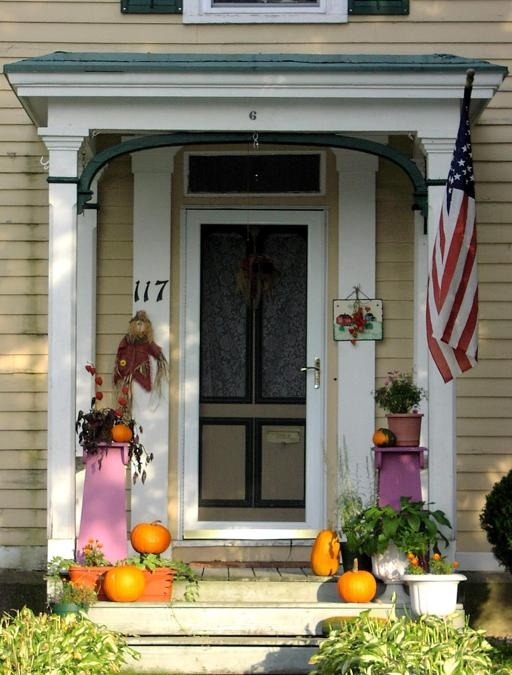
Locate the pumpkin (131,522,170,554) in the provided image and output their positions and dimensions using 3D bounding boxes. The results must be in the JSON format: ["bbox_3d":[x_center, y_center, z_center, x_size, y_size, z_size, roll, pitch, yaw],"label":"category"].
[{"bbox_3d":[-0.645,1.262,9.085,0.194,0.199,0.202,3,0,29],"label":"pumpkin"}]

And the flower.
[{"bbox_3d":[-0.777,1.431,8.660,0.932,0.416,0.385,4,-7,-31],"label":"flower"}]

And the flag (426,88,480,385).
[{"bbox_3d":[1.124,-0.614,8.329,0.285,1.730,0.249,0,-6,8],"label":"flag"}]

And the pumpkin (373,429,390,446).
[{"bbox_3d":[0.771,0.616,8.910,0.089,0.122,0.095,0,0,-4],"label":"pumpkin"}]

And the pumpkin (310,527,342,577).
[{"bbox_3d":[0.440,1.364,9.125,0.173,0.290,0.163,0,-1,-10],"label":"pumpkin"}]

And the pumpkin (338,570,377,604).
[{"bbox_3d":[0.613,1.473,8.560,0.188,0.211,0.195,1,-3,-4],"label":"pumpkin"}]

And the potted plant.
[{"bbox_3d":[0.880,0.924,8.733,0.657,1.450,1.098,1,-6,-7],"label":"potted plant"}]

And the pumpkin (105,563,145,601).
[{"bbox_3d":[-0.761,1.446,8.529,0.192,0.217,0.204,10,-11,-30],"label":"pumpkin"}]

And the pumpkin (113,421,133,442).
[{"bbox_3d":[-0.813,0.572,8.853,0.105,0.107,0.106,9,6,41],"label":"pumpkin"}]
